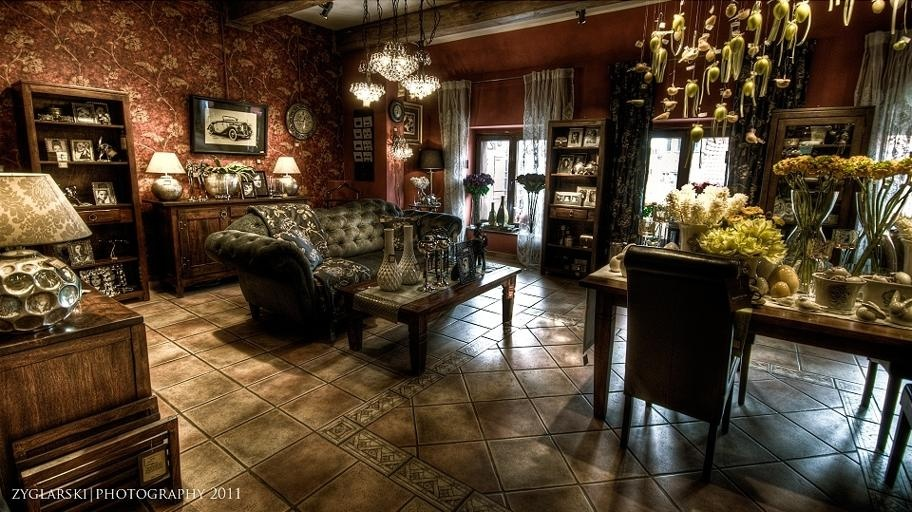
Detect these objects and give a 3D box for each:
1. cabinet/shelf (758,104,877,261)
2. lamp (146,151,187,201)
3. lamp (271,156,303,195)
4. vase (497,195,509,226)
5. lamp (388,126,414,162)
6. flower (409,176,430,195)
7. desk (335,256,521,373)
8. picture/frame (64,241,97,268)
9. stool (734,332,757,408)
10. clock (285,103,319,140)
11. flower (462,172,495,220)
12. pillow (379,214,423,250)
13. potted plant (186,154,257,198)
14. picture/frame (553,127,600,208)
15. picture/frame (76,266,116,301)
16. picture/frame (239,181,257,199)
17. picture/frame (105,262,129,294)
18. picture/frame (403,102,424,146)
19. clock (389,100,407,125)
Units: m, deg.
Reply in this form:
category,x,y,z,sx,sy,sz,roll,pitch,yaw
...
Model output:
category,x,y,z,sx,sy,sz,roll,pitch,yaw
cabinet/shelf,4.237,-0.672,6.058,0.992,2.041,0.417,5,-13,29
lamp,-3.805,-1.035,6.706,0.526,0.566,0.490,3,10,1
lamp,-2.561,-1.212,7.740,0.486,0.518,0.469,-2,6,-22
vase,0.781,-0.752,8.577,0.148,0.489,0.294,0,13,6
lamp,-0.864,-1.797,8.170,0.278,0.524,0.370,4,14,24
flower,-0.627,-1.146,8.303,0.311,0.211,0.308,1,4,33
desk,-0.227,0.564,5.836,1.231,0.636,1.929,14,21,39
picture/frame,-4.456,-0.015,6.032,0.051,0.315,0.297,-13,6,31
stool,2.633,1.008,4.665,0.126,0.645,0.119,8,-7,19
clock,-2.439,-2.126,8.073,0.109,0.476,0.527,6,1,31
flower,0.379,-0.956,8.559,0.513,0.880,0.745,-1,12,2
pillow,-0.666,-0.349,6.620,0.580,0.548,0.572,1,2,-35
potted plant,-3.214,-1.074,7.085,0.704,0.310,0.688,-2,5,-37
picture/frame,1.801,-1.308,7.505,0.768,1.172,0.340,7,16,33
picture/frame,-3.760,0.283,5.313,0.044,0.362,0.396,2,9,39
picture/frame,-2.984,-0.940,7.289,0.032,0.278,0.288,-6,8,34
picture/frame,-4.363,0.294,6.460,0.257,0.308,0.254,-5,0,18
picture/frame,-0.792,-2.261,8.757,0.083,0.705,0.767,-10,22,-34
clock,-0.953,-2.298,8.125,0.111,0.309,0.335,1,15,28
